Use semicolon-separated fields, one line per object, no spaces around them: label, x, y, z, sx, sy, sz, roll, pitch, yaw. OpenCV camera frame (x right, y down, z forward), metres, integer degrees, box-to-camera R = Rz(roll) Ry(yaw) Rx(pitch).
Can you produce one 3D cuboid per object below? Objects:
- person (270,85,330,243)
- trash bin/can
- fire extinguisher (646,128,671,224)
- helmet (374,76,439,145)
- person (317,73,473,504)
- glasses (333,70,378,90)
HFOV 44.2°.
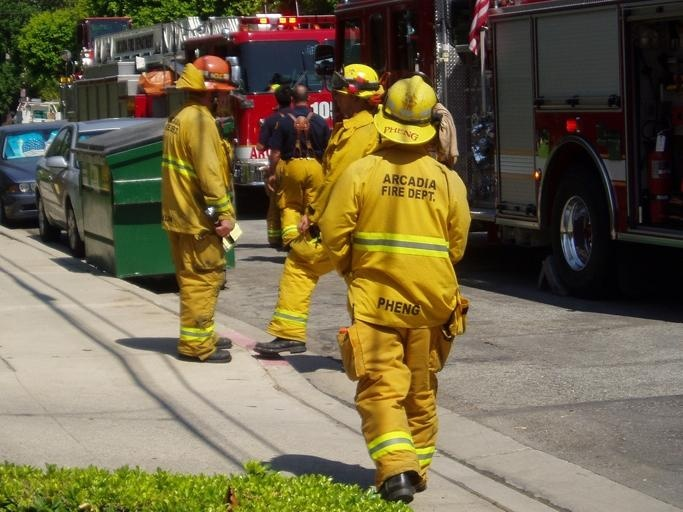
person;-0.486;-0.957;9.376;0.714;1.884;0.656;-4;2;-29
trash bin/can;-2.449;-0.647;10.749;1.735;2.234;3.008;-1;5;-19
fire extinguisher;3.185;-0.773;8.495;0.215;0.858;0.223;6;14;20
helmet;0.361;-0.795;4.445;0.345;0.268;0.485;15;37;8
person;0.293;0.148;4.563;0.792;2.101;0.896;0;2;0
glasses;0.118;-1.347;6.409;0.237;0.147;0.185;11;9;10
